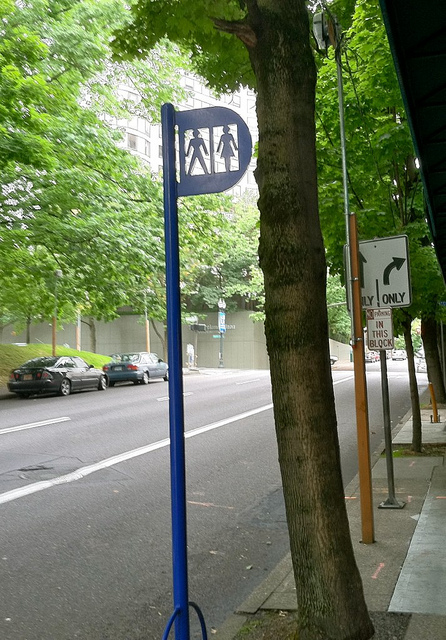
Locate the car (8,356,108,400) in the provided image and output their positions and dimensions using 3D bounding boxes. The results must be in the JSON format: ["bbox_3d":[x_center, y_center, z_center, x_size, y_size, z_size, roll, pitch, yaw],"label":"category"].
[{"bbox_3d":[-6.780,2.285,21.995,1.557,1.228,3.742,-2,-2,20],"label":"car"}]

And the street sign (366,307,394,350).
[{"bbox_3d":[1.642,0.073,5.447,0.267,0.510,0.055,-4,24,18],"label":"street sign"}]

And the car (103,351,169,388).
[{"bbox_3d":[-4.464,2.526,26.875,1.391,1.643,3.366,-6,-4,33],"label":"car"}]

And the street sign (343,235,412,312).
[{"bbox_3d":[1.553,-0.454,5.252,0.637,0.849,0.071,-5,-23,18],"label":"street sign"}]

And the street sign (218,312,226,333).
[{"bbox_3d":[-0.130,0.216,46.360,0.169,2.519,1.787,-3,-3,18],"label":"street sign"}]
